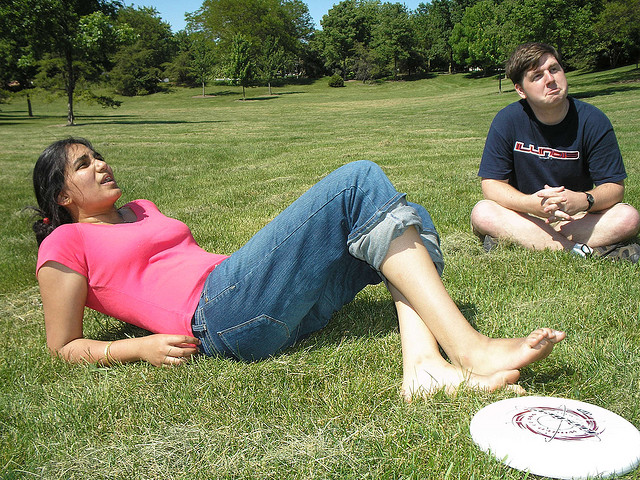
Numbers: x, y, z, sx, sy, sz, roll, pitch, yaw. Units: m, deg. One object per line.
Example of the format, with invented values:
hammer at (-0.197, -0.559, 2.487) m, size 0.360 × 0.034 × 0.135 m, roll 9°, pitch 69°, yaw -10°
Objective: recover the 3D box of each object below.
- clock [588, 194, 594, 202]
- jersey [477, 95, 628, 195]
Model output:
clock at (2.044, -0.315, 4.522) m, size 0.078 × 0.057 × 0.021 m, roll -14°, pitch 13°, yaw -42°
jersey at (1.920, -0.786, 4.951) m, size 1.138 × 0.851 × 0.546 m, roll 7°, pitch 38°, yaw 32°
